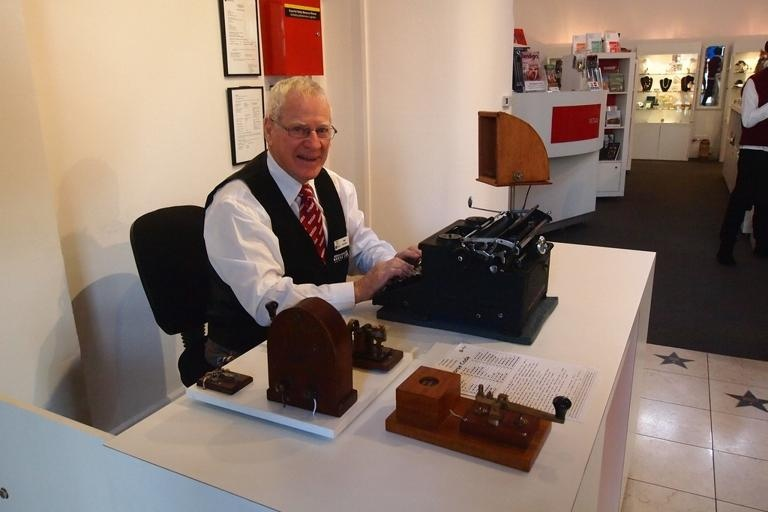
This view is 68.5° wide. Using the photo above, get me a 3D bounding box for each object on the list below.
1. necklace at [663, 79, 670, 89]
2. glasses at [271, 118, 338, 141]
[{"bbox_3d":[5.836,-3.577,11.661,0.154,0.209,0.022,16,46,34],"label":"necklace"},{"bbox_3d":[-0.392,-0.622,2.774,0.297,0.105,0.120,-7,23,-12],"label":"glasses"}]
